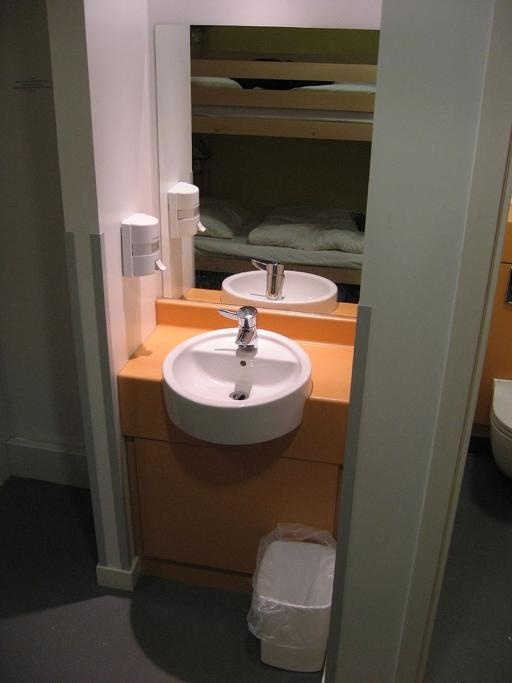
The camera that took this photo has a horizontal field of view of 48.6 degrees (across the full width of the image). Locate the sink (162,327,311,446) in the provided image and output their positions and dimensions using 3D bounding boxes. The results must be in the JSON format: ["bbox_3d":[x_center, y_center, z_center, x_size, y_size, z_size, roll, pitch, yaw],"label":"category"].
[{"bbox_3d":[-0.057,0.133,1.614,0.411,0.204,0.421,4,24,0],"label":"sink"}]

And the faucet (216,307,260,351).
[{"bbox_3d":[-0.045,-0.055,1.689,0.134,0.163,0.084,3,25,8],"label":"faucet"}]

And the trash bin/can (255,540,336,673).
[{"bbox_3d":[0.097,0.762,1.628,0.222,0.311,0.239,7,23,9],"label":"trash bin/can"}]

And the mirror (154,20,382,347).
[{"bbox_3d":[0.085,-0.583,1.964,0.745,0.825,0.459,8,14,12],"label":"mirror"}]
